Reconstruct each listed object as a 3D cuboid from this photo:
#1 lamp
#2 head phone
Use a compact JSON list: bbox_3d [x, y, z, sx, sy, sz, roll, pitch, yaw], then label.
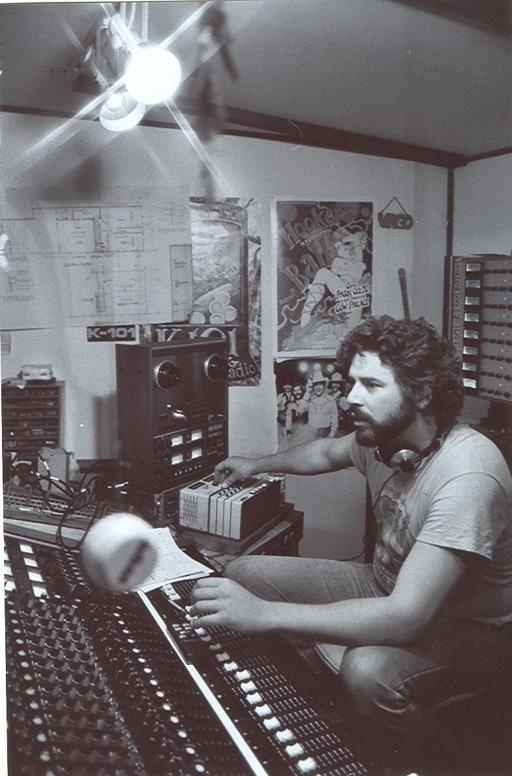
[{"bbox_3d":[-0.241,-0.625,1.276,0.186,0.194,0.196,9,20,-24],"label":"lamp"},{"bbox_3d":[0.313,0.102,1.244,0.123,0.044,0.100,-37,21,-16],"label":"head phone"}]
